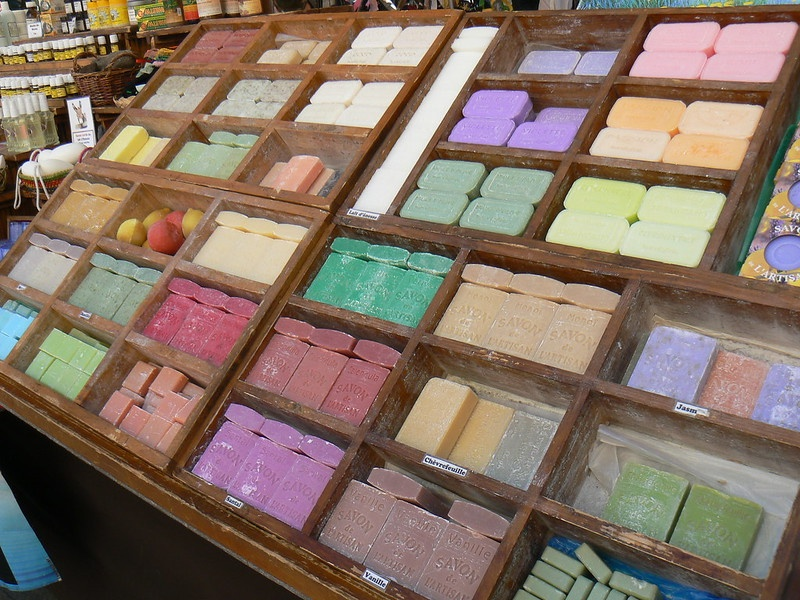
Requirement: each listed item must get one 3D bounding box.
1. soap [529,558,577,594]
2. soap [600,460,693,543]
[{"bbox_3d":[0.417,0.751,1.414,0.115,0.050,0.096,18,-17,35],"label":"soap"},{"bbox_3d":[0.695,0.568,1.467,0.192,0.194,0.118,16,-33,38],"label":"soap"}]
